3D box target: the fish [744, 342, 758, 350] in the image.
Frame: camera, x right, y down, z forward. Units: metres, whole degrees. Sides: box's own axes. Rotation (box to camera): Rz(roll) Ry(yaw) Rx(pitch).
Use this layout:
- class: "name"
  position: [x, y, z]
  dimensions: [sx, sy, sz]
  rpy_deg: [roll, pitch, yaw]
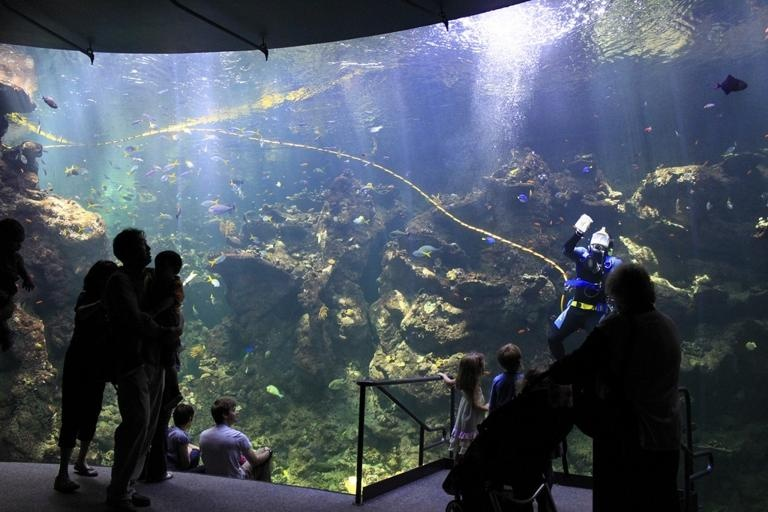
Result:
- class: "fish"
  position: [18.062, 4.432, 28.868]
  dimensions: [0.446, 0.411, 0.287]
  rpy_deg: [-2, -8, 28]

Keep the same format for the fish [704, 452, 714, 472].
- class: "fish"
  position: [10.753, 6.765, 19.402]
  dimensions: [0.147, 0.662, 0.531]
  rpy_deg: [-1, -8, 23]

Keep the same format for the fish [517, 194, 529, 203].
- class: "fish"
  position: [7.252, -2.981, 30.675]
  dimensions: [0.661, 0.366, 0.329]
  rpy_deg: [14, -32, 52]

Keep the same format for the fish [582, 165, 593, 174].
- class: "fish"
  position: [11.942, -5.041, 34.417]
  dimensions: [0.484, 0.243, 0.541]
  rpy_deg: [-13, -9, -26]
